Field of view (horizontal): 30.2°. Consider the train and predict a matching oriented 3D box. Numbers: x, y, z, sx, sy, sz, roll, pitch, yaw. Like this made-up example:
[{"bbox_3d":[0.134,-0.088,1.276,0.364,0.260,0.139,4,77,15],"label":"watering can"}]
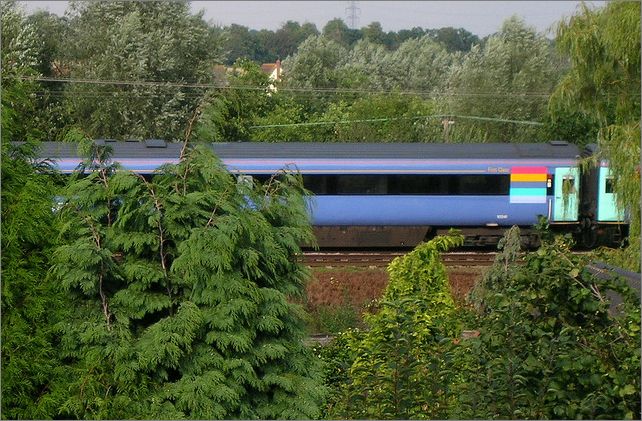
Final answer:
[{"bbox_3d":[1.965,-0.726,44.114,17.568,3.491,2.374,-1,6,-26],"label":"train"}]
